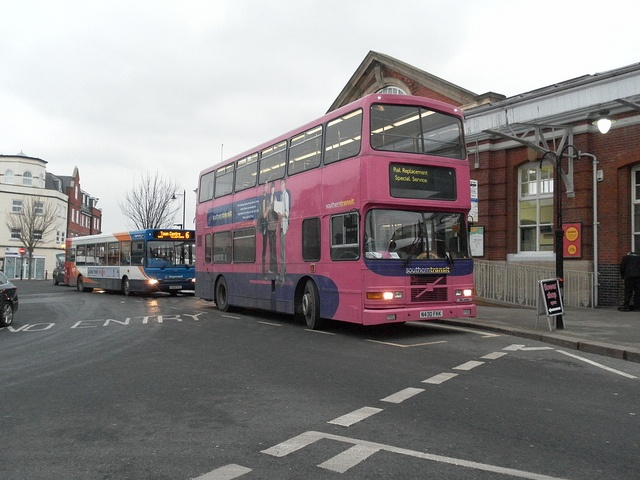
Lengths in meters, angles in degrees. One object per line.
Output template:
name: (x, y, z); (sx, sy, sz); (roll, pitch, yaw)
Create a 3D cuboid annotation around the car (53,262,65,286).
car: (-22.034, 2.919, 40.520); (0.605, 1.762, 2.130); (0, -2, -35)

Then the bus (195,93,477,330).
bus: (-0.787, -0.473, 14.888); (3.076, 5.902, 10.752); (1, -2, -42)
